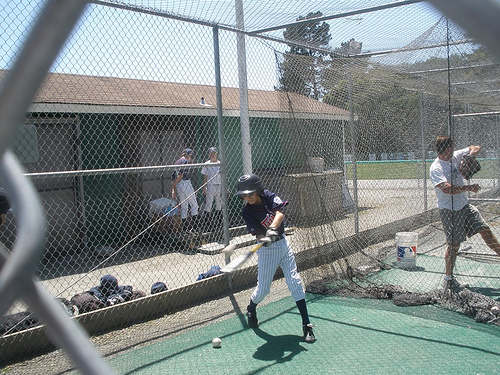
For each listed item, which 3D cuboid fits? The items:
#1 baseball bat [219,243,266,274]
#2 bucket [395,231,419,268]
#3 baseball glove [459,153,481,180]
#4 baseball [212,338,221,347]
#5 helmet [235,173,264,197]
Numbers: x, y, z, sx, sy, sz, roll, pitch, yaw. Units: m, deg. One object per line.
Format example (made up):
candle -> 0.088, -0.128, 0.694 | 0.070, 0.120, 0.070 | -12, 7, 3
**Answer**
baseball bat -> -0.024, 0.479, 2.909 | 0.136, 0.056, 0.922 | 16, 3, 13
bucket -> 2.530, 1.010, 7.174 | 0.316, 0.559, 0.361 | -1, 1, 11
baseball glove -> 3.229, -0.294, 6.598 | 0.359, 0.429, 0.099 | -24, 31, -21
baseball -> -0.360, 1.636, 4.742 | 0.091, 0.075, 0.105 | -3, 6, -2
helmet -> 0.020, -0.045, 4.750 | 0.158, 0.180, 0.209 | -15, 10, -42
